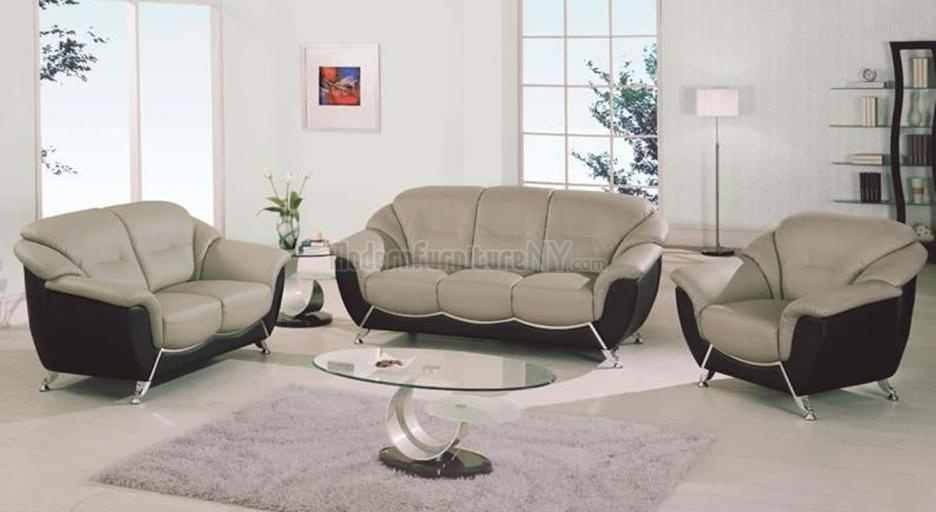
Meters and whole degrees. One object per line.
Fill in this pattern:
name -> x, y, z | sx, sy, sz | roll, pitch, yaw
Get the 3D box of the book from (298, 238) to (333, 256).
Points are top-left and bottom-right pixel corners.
book -> -1.596, -0.080, 6.745 | 0.319, 0.167, 0.182 | -3, 13, -11

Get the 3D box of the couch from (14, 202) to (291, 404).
couch -> -2.786, 0.306, 5.878 | 1.322, 1.217, 2.097 | 11, 12, 15

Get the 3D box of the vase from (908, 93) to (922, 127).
vase -> 5.872, -1.928, 8.481 | 0.122, 0.441, 0.226 | 4, 15, 17

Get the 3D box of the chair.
chair -> 2.645, 0.350, 5.242 | 1.599, 1.293, 1.079 | 8, 16, 32

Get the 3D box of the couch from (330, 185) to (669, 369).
couch -> 0.328, 0.045, 6.418 | 3.246, 1.176, 1.450 | 4, 22, 28
